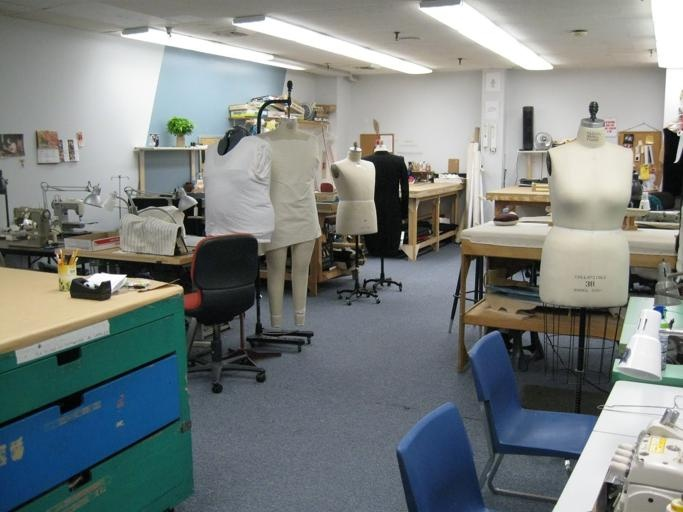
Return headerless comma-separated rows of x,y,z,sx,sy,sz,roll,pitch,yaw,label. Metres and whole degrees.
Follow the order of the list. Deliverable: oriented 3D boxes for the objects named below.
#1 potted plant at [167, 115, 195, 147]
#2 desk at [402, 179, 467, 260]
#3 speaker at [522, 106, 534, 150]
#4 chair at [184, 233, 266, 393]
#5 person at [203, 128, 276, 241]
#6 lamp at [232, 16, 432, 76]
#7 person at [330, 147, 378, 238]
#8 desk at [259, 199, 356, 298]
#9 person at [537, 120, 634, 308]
-2.341,-1.807,7.542,0.356,0.455,0.423,-4,11,-18,potted plant
1.513,-0.633,9.356,0.708,1.151,1.917,5,13,33,desk
3.436,-2.332,9.533,0.222,0.806,0.281,1,10,12,speaker
-0.940,0.410,4.186,0.609,1.219,0.590,-4,11,-17,chair
-0.871,-0.589,4.321,0.529,0.922,0.294,3,11,20,person
0.119,-2.936,7.572,0.779,0.200,4.928,5,12,30,lamp
0.148,-0.766,6.120,0.523,1.069,0.323,-1,10,-1,person
-0.453,-0.099,7.041,1.093,1.078,1.414,3,10,17,desk
1.566,-0.251,3.291,0.538,1.199,0.270,2,10,14,person
